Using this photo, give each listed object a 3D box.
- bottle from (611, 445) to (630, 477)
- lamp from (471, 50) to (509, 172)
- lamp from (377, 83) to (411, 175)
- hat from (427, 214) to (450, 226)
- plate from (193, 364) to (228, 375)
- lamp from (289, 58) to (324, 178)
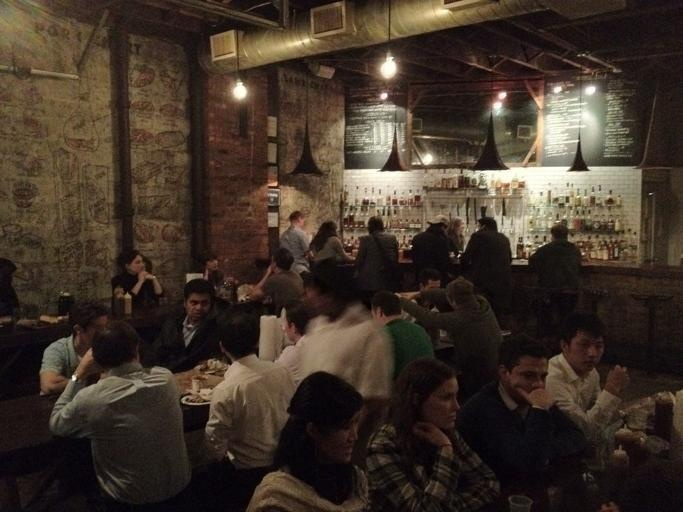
[{"bbox_3d":[1.523,1.132,3.159,0.099,0.164,0.099,1,6,0],"label":"bottle"},{"bbox_3d":[2.430,-2.000,9.348,0.466,1.248,2.172,1,7,15],"label":"lamp"},{"bbox_3d":[0.936,-2.286,10.083,0.515,1.601,1.524,0,7,6],"label":"lamp"},{"bbox_3d":[1.622,-0.594,9.575,0.328,0.192,0.524,-1,-4,41],"label":"hat"},{"bbox_3d":[-1.055,0.913,4.652,0.185,0.067,0.188,-6,-7,41],"label":"plate"},{"bbox_3d":[-0.603,-2.261,9.628,0.498,1.817,1.349,-1,7,-3],"label":"lamp"}]
